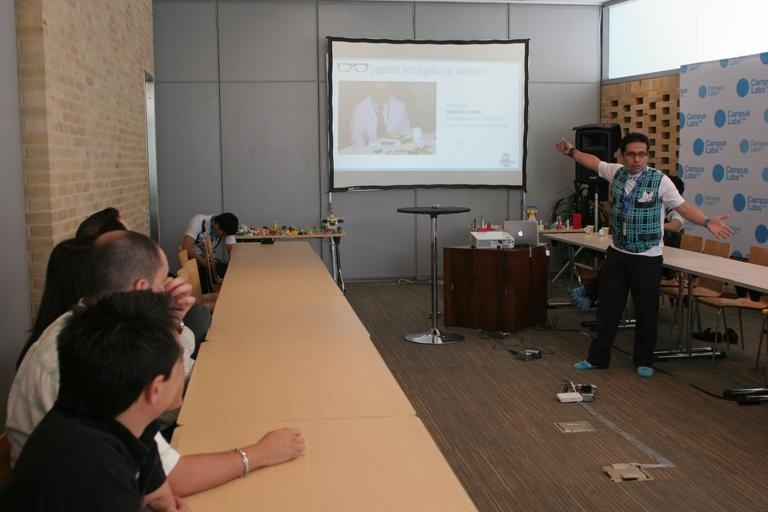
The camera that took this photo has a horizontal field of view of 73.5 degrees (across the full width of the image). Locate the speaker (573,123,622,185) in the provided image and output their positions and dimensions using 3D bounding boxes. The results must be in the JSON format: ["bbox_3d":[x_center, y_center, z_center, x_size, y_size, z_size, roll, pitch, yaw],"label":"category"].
[{"bbox_3d":[3.438,-1.802,8.552,0.673,0.961,0.711,-6,30,9],"label":"speaker"}]

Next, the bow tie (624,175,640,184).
[{"bbox_3d":[2.284,-0.710,4.752,0.065,0.081,0.088,3,11,-7],"label":"bow tie"}]

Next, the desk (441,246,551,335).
[{"bbox_3d":[1.419,0.368,6.544,0.981,0.995,1.041,2,5,40],"label":"desk"}]

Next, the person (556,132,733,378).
[{"bbox_3d":[2.374,-0.005,4.860,1.022,2.254,0.691,4,11,21],"label":"person"}]

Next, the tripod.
[{"bbox_3d":[3.023,-0.350,8.036,0.904,1.132,1.500,1,4,3],"label":"tripod"}]

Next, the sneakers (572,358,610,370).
[{"bbox_3d":[2.023,1.074,5.093,0.341,0.152,0.123,6,-3,4],"label":"sneakers"}]

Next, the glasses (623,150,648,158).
[{"bbox_3d":[2.294,-0.929,4.700,0.198,0.055,0.115,2,11,13],"label":"glasses"}]

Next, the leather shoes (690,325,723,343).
[{"bbox_3d":[3.652,0.903,5.837,0.285,0.121,0.300,0,1,3],"label":"leather shoes"}]

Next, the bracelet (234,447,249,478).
[{"bbox_3d":[-0.466,0.685,1.724,0.045,0.085,0.080,-2,-10,-14],"label":"bracelet"}]

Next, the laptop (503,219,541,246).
[{"bbox_3d":[1.650,-0.287,6.199,0.382,0.299,0.286,1,5,12],"label":"laptop"}]
